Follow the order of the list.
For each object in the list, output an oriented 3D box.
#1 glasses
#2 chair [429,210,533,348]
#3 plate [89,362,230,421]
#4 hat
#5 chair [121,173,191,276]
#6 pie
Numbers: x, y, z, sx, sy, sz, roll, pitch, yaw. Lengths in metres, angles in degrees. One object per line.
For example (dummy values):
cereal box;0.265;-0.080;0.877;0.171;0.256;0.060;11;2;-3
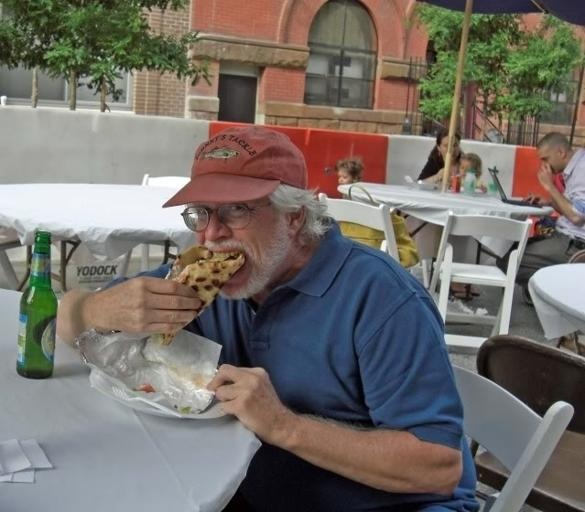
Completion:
glasses;-0.175;-0.126;1.518;0.184;0.081;0.153;9;13;37
chair;1.398;0.143;4.185;0.610;1.202;0.927;3;28;5
plate;-0.260;0.267;1.287;0.247;0.101;0.344;-6;10;-29
hat;-0.131;-0.259;1.588;0.336;0.232;0.450;0;5;24
chair;-1.118;-0.342;4.612;0.520;1.058;0.561;13;16;42
pie;-0.213;0.087;1.445;0.191;0.244;0.195;-6;16;-28
